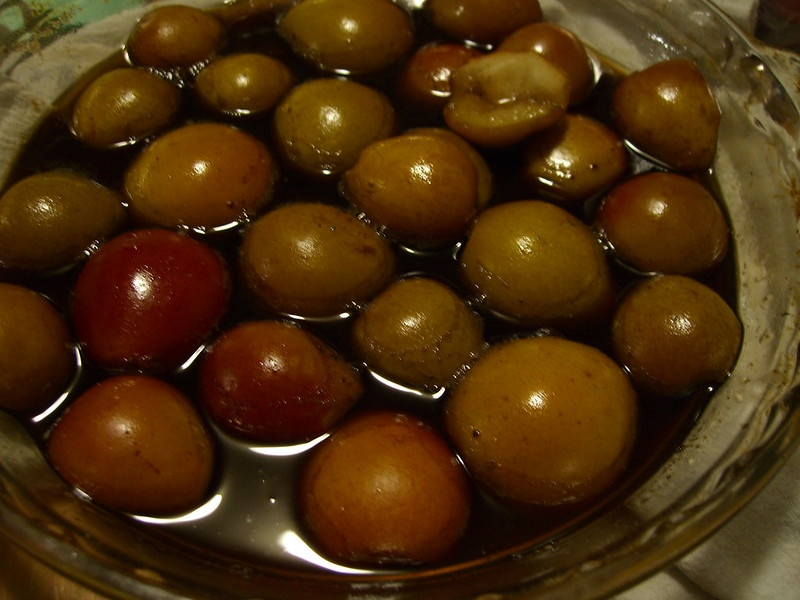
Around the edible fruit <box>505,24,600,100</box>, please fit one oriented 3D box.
[{"bbox_3d":[0.217,-0.311,1.344,0.109,0.109,0.148,-1,96,10],"label":"edible fruit"}]

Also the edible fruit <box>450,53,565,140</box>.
[{"bbox_3d":[0.144,-0.272,1.280,0.129,0.050,0.123,-6,73,11],"label":"edible fruit"}]

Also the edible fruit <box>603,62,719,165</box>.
[{"bbox_3d":[0.375,-0.259,1.363,0.149,0.087,0.117,44,88,3],"label":"edible fruit"}]

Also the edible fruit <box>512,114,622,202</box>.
[{"bbox_3d":[0.230,-0.189,1.282,0.105,0.062,0.119,5,76,5],"label":"edible fruit"}]

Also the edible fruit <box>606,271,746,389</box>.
[{"bbox_3d":[0.352,0.048,1.215,0.160,0.060,0.153,17,71,12],"label":"edible fruit"}]

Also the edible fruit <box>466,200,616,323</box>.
[{"bbox_3d":[0.174,-0.041,1.218,0.162,0.104,0.144,22,74,8],"label":"edible fruit"}]

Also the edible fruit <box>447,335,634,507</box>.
[{"bbox_3d":[0.167,0.146,1.161,0.221,0.070,0.189,-2,68,5],"label":"edible fruit"}]
